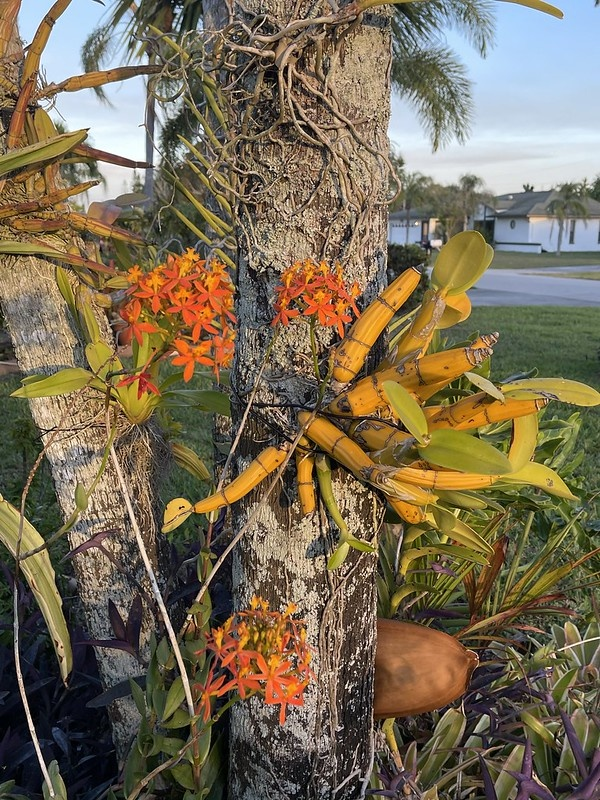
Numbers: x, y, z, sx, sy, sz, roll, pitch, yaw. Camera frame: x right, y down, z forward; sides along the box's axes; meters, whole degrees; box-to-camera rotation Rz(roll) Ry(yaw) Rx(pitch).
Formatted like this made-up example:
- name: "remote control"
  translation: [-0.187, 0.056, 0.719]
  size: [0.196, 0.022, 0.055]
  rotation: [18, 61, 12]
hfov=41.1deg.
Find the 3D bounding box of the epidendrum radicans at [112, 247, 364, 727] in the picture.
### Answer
- name: "epidendrum radicans"
  translation: [-0.113, 0.108, 1.547]
  size: [0.537, 0.825, 0.326]
  rotation: [0, 10, 0]
